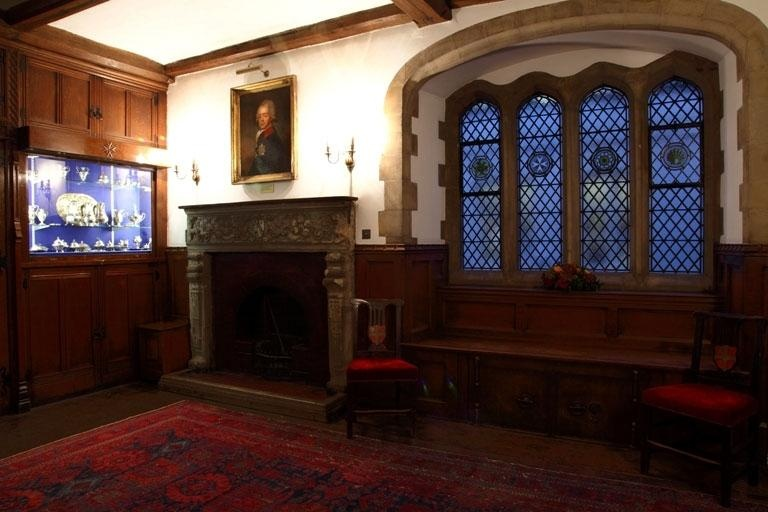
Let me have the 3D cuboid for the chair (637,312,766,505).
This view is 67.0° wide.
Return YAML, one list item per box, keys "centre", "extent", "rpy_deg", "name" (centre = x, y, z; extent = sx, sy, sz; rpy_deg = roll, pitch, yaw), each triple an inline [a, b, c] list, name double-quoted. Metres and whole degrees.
- centre: [3.194, 1.396, 5.839]
  extent: [1.312, 1.675, 1.010]
  rpy_deg: [-5, 5, -33]
  name: "chair"
